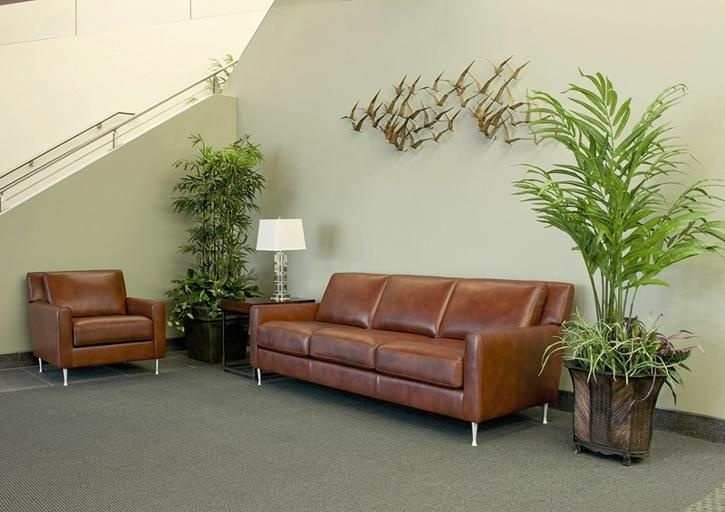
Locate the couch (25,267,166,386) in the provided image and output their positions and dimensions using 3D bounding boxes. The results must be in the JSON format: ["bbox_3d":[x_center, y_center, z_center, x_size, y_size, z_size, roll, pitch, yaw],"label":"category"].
[{"bbox_3d":[-2.818,0.655,5.920,1.163,0.986,1.219,0,2,-35],"label":"couch"}]

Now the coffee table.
[{"bbox_3d":[-1.062,0.870,6.098,0.636,0.781,0.790,-2,-4,44],"label":"coffee table"}]

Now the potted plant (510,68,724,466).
[{"bbox_3d":[1.885,-0.049,4.093,1.451,2.793,1.219,2,6,16],"label":"potted plant"}]
